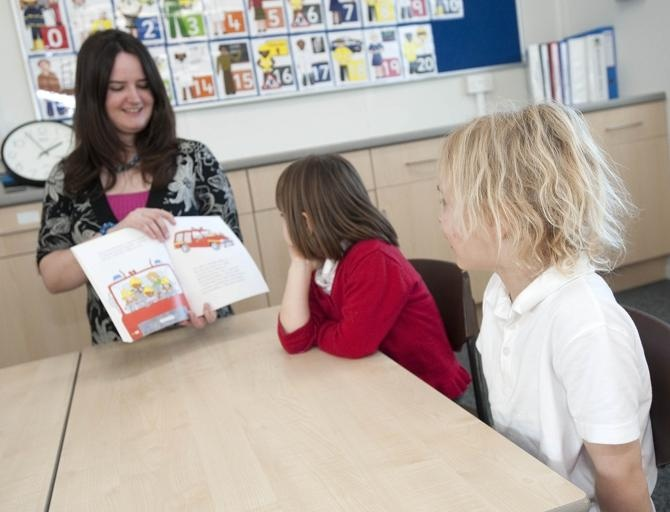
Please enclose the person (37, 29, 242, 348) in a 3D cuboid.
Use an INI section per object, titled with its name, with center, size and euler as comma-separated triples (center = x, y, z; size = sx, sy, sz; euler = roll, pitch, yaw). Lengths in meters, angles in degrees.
[person]
center = -0.608, -0.124, 1.481
size = 0.574, 1.025, 0.505
euler = -10, 27, -28
